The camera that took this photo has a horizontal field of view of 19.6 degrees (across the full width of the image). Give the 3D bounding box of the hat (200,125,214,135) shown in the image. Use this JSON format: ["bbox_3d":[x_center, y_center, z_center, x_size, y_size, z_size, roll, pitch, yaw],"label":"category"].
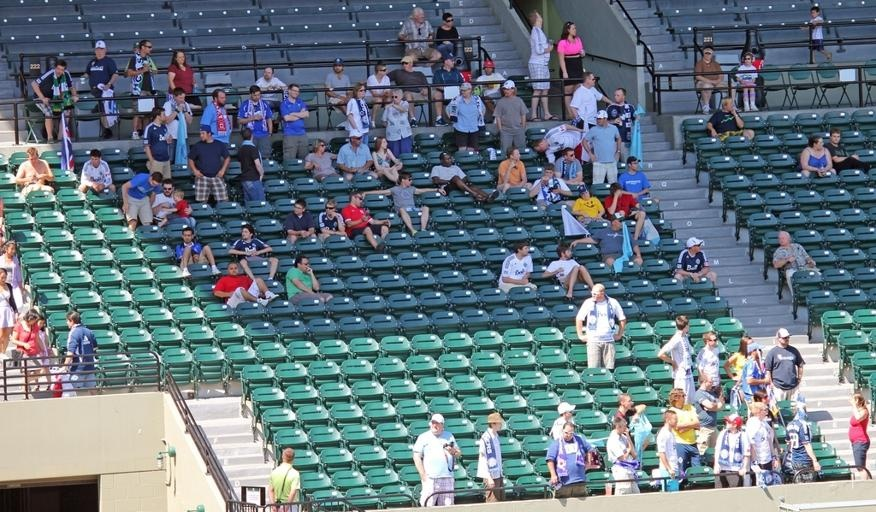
[{"bbox_3d":[-5.173,-2.759,55.829,0.193,0.110,0.238,12,-1,15],"label":"hat"}]

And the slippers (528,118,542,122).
[{"bbox_3d":[2.204,-3.128,58.697,0.315,0.063,0.106,0,10,5],"label":"slippers"}]

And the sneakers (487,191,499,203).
[{"bbox_3d":[1.172,-1.305,56.092,0.082,0.208,0.153,40,-5,-34],"label":"sneakers"}]

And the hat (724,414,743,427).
[{"bbox_3d":[5.838,3.217,50.245,0.318,0.217,0.509,-7,-2,8],"label":"hat"}]

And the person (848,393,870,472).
[{"bbox_3d":[8.466,3.568,50.960,0.462,1.561,1.500,-9,-3,8],"label":"person"}]

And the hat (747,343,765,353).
[{"bbox_3d":[6.448,1.855,51.684,0.334,0.104,0.201,-1,13,-7],"label":"hat"}]

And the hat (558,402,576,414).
[{"bbox_3d":[2.490,2.990,49.830,0.362,0.144,0.240,-13,12,2],"label":"hat"}]

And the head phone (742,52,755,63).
[{"bbox_3d":[7.147,-4.560,58.834,0.257,0.251,0.281,-3,10,-1],"label":"head phone"}]

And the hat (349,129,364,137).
[{"bbox_3d":[-1.871,-2.709,56.528,0.232,0.069,0.151,10,23,31],"label":"hat"}]

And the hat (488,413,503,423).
[{"bbox_3d":[1.104,3.128,49.426,0.266,0.211,0.202,-15,24,-10],"label":"hat"}]
